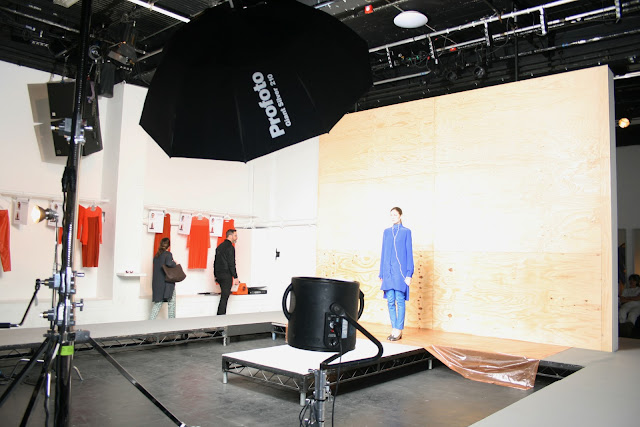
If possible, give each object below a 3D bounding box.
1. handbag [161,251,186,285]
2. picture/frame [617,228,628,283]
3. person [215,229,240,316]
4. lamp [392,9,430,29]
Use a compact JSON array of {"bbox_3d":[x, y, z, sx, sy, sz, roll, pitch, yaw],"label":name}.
[{"bbox_3d":[-2.916,1.101,8.445,0.241,0.676,0.673,-19,-22,23],"label":"handbag"},{"bbox_3d":[6.988,0.942,9.852,0.190,1.407,0.333,-3,-1,36],"label":"picture/frame"},{"bbox_3d":[-1.952,1.209,8.843,0.451,1.218,0.604,-2,-1,-13],"label":"person"},{"bbox_3d":[1.446,-3.149,6.803,0.450,0.233,0.483,-3,-1,27],"label":"lamp"}]
